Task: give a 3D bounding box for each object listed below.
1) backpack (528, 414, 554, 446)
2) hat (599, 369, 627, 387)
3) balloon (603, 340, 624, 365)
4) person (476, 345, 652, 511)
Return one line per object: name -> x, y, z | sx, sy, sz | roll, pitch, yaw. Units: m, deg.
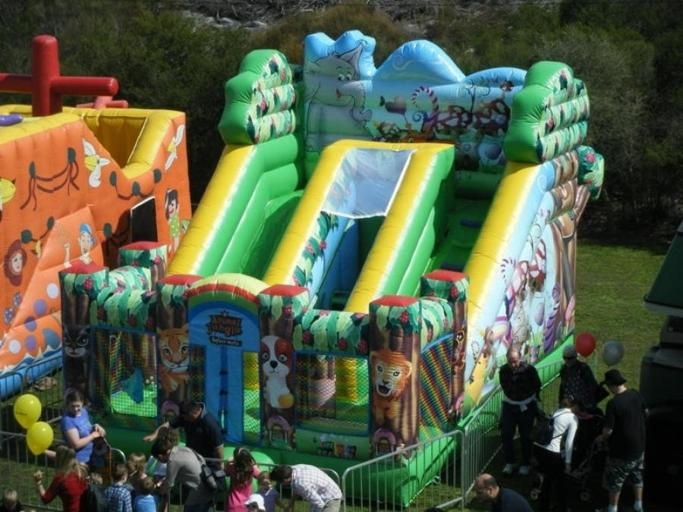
backpack -> 2.405, 2.077, 18.207 | 0.167, 0.420, 0.404 | 17, -7, -19
hat -> 3.253, 1.436, 18.006 | 0.188, 0.096, 0.229 | 0, 3, 32
balloon -> 3.423, 1.221, 19.214 | 0.246, 0.298, 0.105 | 2, -2, 5
person -> 3.033, 2.212, 18.341 | 1.372, 1.871, 0.767 | 7, 9, 11
